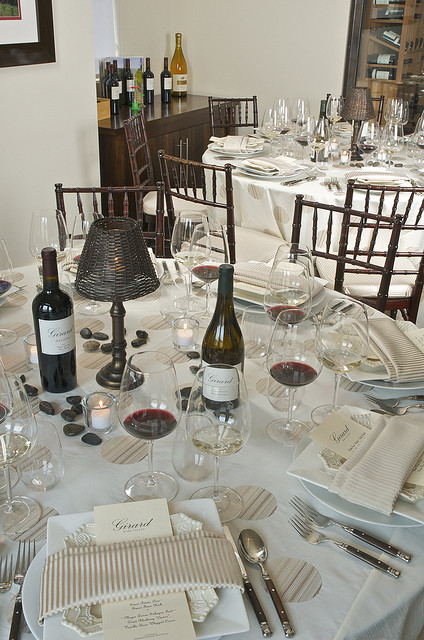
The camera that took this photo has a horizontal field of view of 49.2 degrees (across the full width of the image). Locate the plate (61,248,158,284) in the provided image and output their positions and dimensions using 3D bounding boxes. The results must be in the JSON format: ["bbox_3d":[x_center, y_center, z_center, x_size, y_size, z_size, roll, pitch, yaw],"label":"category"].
[{"bbox_3d":[-0.221,-0.114,0.981,0.150,0.041,0.149,5,14,27],"label":"plate"}]

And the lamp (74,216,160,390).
[{"bbox_3d":[-0.204,-0.029,0.991,0.172,0.340,0.168,-11,26,-33],"label":"lamp"}]

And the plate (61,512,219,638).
[{"bbox_3d":[-0.089,0.283,0.540,0.174,0.029,0.165,-4,24,-11],"label":"plate"}]

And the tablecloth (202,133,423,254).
[{"bbox_3d":[0.581,-0.710,2.757,1.356,0.501,1.067,3,24,5],"label":"tablecloth"}]

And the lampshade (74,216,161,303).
[{"bbox_3d":[-0.194,-0.132,0.949,0.179,0.125,0.171,-1,29,6],"label":"lampshade"}]

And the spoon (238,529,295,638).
[{"bbox_3d":[0.070,0.315,0.566,0.020,0.015,0.125,3,16,-14],"label":"spoon"}]

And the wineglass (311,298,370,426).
[{"bbox_3d":[0.274,0.091,0.989,0.113,0.285,0.112,14,28,31],"label":"wineglass"}]

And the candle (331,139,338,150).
[{"bbox_3d":[0.854,-1.216,3.224,0.045,0.080,0.046,16,33,31],"label":"candle"}]

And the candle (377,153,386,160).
[{"bbox_3d":[1.114,-1.074,3.036,0.044,0.044,0.040,0,36,5],"label":"candle"}]

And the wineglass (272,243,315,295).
[{"bbox_3d":[0.203,-0.142,1.313,0.130,0.160,0.164,-1,21,0],"label":"wineglass"}]

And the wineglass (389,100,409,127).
[{"bbox_3d":[1.338,-1.474,3.283,0.110,0.152,0.336,12,26,24],"label":"wineglass"}]

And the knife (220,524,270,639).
[{"bbox_3d":[0.039,0.305,0.548,0.018,0.010,0.129,2,23,-17],"label":"knife"}]

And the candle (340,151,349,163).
[{"bbox_3d":[0.863,-1.049,3.003,0.048,0.086,0.049,12,23,31],"label":"candle"}]

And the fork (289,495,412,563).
[{"bbox_3d":[0.198,0.292,0.643,0.130,0.020,0.018,26,41,37],"label":"fork"}]

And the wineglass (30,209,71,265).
[{"bbox_3d":[-0.501,-0.242,1.430,0.124,0.175,0.122,-8,2,-42],"label":"wineglass"}]

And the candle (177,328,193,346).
[{"bbox_3d":[-0.067,0.043,1.161,0.040,0.039,0.040,19,32,33],"label":"candle"}]

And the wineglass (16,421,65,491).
[{"bbox_3d":[-0.286,0.226,0.764,0.082,0.120,0.083,11,-10,-21],"label":"wineglass"}]

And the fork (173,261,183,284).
[{"bbox_3d":[-0.107,-0.150,1.439,0.038,0.069,0.018,-3,2,-3],"label":"fork"}]

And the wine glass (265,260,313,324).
[{"bbox_3d":[0.194,-0.086,1.277,0.141,0.193,0.136,-3,17,-5],"label":"wine glass"}]

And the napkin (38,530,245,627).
[{"bbox_3d":[-0.085,0.287,0.518,0.188,0.038,0.086,-2,34,-10],"label":"napkin"}]

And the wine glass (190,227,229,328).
[{"bbox_3d":[-0.015,-0.117,1.325,0.111,0.270,0.110,-16,-19,33],"label":"wine glass"}]

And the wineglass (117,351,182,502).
[{"bbox_3d":[-0.095,0.154,0.733,0.091,0.225,0.171,-1,24,-3],"label":"wineglass"}]

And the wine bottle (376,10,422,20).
[{"bbox_3d":[1.640,-2.806,4.259,0.237,0.079,0.020,6,24,11],"label":"wine bottle"}]

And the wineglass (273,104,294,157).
[{"bbox_3d":[0.496,-1.328,3.199,0.127,0.317,0.142,27,46,35],"label":"wineglass"}]

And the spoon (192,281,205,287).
[{"bbox_3d":[-0.043,-0.111,1.413,0.021,0.008,0.021,-2,45,6],"label":"spoon"}]

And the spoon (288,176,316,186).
[{"bbox_3d":[0.526,-0.806,2.674,0.257,0.019,0.067,-13,43,-34],"label":"spoon"}]

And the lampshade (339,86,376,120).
[{"bbox_3d":[0.971,-1.419,3.044,0.199,0.157,0.218,24,45,31],"label":"lampshade"}]

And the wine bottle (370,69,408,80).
[{"bbox_3d":[1.652,-2.368,4.460,0.240,0.080,0.039,7,24,14],"label":"wine bottle"}]

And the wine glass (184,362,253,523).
[{"bbox_3d":[0.019,0.152,0.739,0.095,0.228,0.254,3,24,6],"label":"wine glass"}]

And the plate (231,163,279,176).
[{"bbox_3d":[0.254,-0.881,2.712,0.164,0.024,0.112,26,37,24],"label":"plate"}]

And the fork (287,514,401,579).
[{"bbox_3d":[0.181,0.306,0.622,0.115,0.018,0.016,24,30,35],"label":"fork"}]

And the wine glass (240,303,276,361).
[{"bbox_3d":[0.094,0.029,1.205,0.107,0.124,0.129,-2,20,-3],"label":"wine glass"}]

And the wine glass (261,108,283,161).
[{"bbox_3d":[0.414,-1.287,3.204,0.163,0.333,0.141,3,40,3],"label":"wine glass"}]

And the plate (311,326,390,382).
[{"bbox_3d":[0.292,0.088,0.983,0.145,0.026,0.146,-12,45,-13],"label":"plate"}]

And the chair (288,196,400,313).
[{"bbox_3d":[0.579,-0.292,1.954,0.337,0.596,0.361,21,54,17],"label":"chair"}]
